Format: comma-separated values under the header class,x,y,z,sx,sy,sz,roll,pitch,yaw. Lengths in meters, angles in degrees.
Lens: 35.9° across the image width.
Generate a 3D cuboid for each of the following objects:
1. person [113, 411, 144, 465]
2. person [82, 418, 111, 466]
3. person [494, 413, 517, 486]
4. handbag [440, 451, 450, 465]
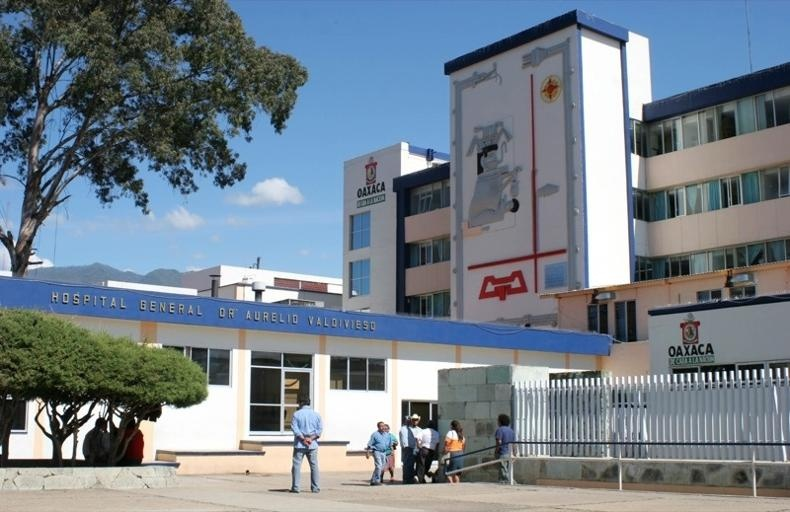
class,x,y,z,sx,sy,sz,roll,pitch,yaw
person,-9.661,6.727,43.848,1.225,1.945,1.185,1,-6,19
person,-10.549,6.622,43.246,0.854,1.720,1.247,5,-17,-16
person,3.997,7.029,44.523,0.687,2.585,1.403,-1,-16,6
handbag,1.904,7.600,45.785,0.401,0.563,0.407,-1,6,10
